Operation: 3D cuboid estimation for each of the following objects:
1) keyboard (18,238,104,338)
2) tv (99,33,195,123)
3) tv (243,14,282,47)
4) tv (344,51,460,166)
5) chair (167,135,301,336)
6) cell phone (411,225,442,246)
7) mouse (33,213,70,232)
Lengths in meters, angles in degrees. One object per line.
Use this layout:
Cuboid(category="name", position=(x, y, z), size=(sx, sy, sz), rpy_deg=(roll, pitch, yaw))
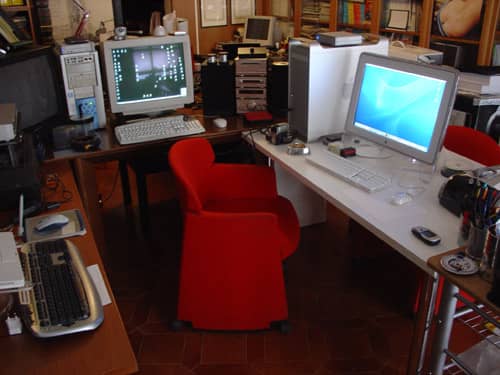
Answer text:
Cuboid(category="keyboard", position=(-0.694, 0.388, 1.495), size=(0.230, 0.070, 0.483), rpy_deg=(-7, 35, -21))
Cuboid(category="tv", position=(-0.756, -0.862, 2.912), size=(0.609, 0.529, 0.353), rpy_deg=(-11, 35, -21))
Cuboid(category="tv", position=(0.207, -2.158, 5.518), size=(0.448, 0.438, 0.478), rpy_deg=(-18, 31, -40))
Cuboid(category="tv", position=(0.793, -0.440, 2.143), size=(0.066, 0.489, 0.634), rpy_deg=(-10, 28, -31))
Cuboid(category="chair", position=(-0.094, 0.126, 2.642), size=(1.016, 1.236, 0.984), rpy_deg=(-3, 33, -3))
Cuboid(category="cell phone", position=(0.751, 0.199, 1.679), size=(0.053, 0.026, 0.097), rpy_deg=(-12, 27, -15))
Cuboid(category="mouse", position=(-0.907, 0.148, 1.822), size=(0.116, 0.039, 0.072), rpy_deg=(-11, 29, -28))
